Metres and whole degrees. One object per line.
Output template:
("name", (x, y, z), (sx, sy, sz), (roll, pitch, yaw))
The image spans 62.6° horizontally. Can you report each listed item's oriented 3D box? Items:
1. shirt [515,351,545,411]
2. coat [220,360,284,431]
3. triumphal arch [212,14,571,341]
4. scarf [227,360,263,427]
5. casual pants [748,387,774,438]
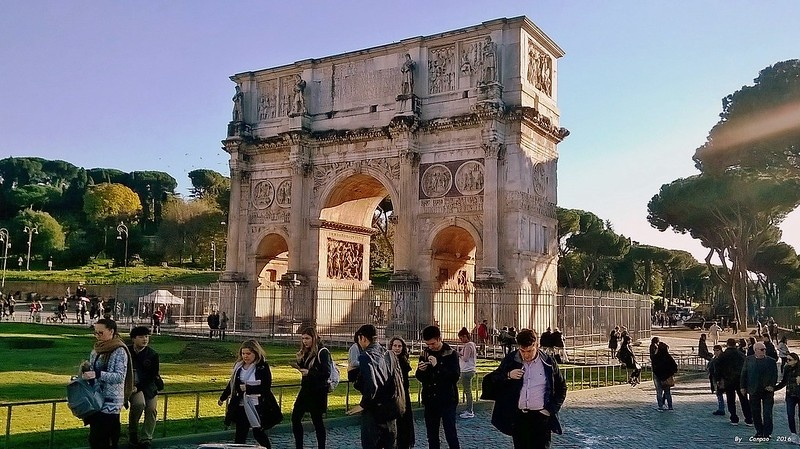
("shirt", (3.552, 4.307, 17.780), (0.712, 1.377, 0.220), (1, -12, -1))
("coat", (-4.237, 5.061, 19.376), (2.013, 2.291, 1.904), (-5, -18, 13))
("triumphal arch", (0.054, -2.125, 43.116), (20.433, 14.402, 7.449), (-5, -9, 31))
("scarf", (-4.332, 4.839, 18.592), (0.837, 1.751, 0.294), (3, -12, -12))
("casual pants", (11.866, 6.186, 21.574), (0.679, 1.510, 0.504), (-5, -13, 22))
